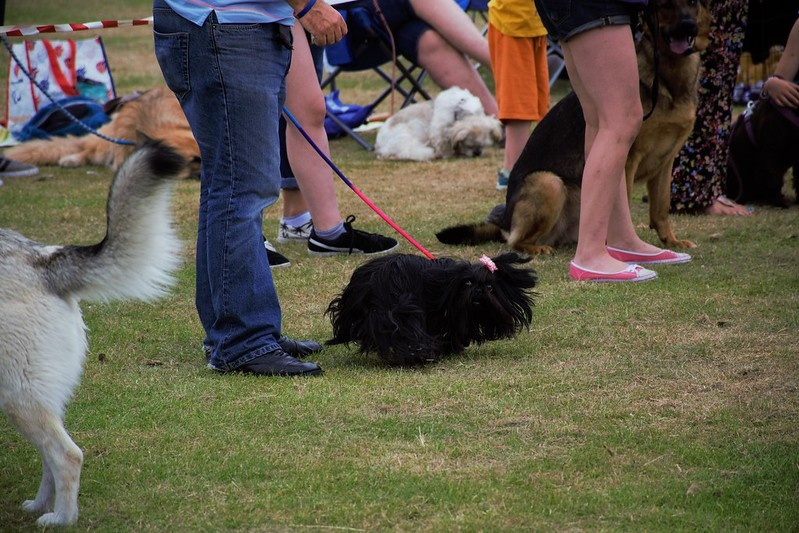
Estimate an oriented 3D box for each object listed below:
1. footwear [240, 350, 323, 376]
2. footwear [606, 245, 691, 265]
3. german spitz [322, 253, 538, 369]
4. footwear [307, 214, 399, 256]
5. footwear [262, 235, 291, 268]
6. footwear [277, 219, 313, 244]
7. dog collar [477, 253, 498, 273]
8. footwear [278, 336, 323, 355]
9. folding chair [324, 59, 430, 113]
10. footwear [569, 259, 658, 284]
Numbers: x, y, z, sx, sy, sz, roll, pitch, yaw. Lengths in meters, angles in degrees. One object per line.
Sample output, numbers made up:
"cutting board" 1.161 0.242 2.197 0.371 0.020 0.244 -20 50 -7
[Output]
"footwear" -0.694 0.590 7.840 0.524 0.172 0.171 -1 -2 -5
"footwear" 1.721 -0.066 9.103 0.607 0.148 0.193 -1 5 4
"german spitz" 0.220 0.213 8.130 1.273 0.602 0.825 0 13 -16
"footwear" -0.327 -0.219 9.408 0.687 0.257 0.242 -1 18 -4
"footwear" -0.902 -0.113 9.220 0.306 0.115 0.103 30 12 9
"footwear" -0.765 -0.280 9.700 0.346 0.145 0.120 -2 14 -7
"dog collar" 0.532 -0.029 8.041 0.068 0.033 0.114 20 26 -50
"footwear" -0.603 0.479 8.011 0.301 0.110 0.097 -4 31 -40
"folding chair" -0.039 -2.007 13.852 1.403 0.346 1.578 11 5 -7
"footwear" 1.421 0.039 8.744 0.543 0.139 0.187 -1 10 4
